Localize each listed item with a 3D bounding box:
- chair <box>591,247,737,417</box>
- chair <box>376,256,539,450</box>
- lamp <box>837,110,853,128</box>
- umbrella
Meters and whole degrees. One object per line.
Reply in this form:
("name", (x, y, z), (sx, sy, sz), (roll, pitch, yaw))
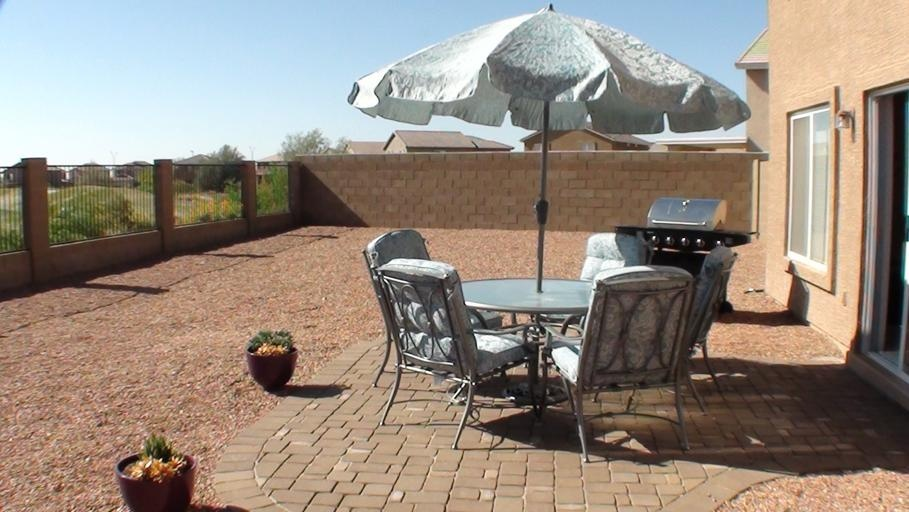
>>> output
("chair", (2.102, 0.598, 6.482), (1.619, 2.163, 1.426), (2, 4, 28))
("chair", (0.058, 0.933, 6.570), (1.303, 1.696, 1.921), (3, 3, 31))
("lamp", (5.067, -1.775, 7.702), (0.167, 0.224, 0.368), (3, 14, 12))
("umbrella", (1.093, -0.852, 6.862), (3.871, 2.443, 3.753), (0, 5, -33))
